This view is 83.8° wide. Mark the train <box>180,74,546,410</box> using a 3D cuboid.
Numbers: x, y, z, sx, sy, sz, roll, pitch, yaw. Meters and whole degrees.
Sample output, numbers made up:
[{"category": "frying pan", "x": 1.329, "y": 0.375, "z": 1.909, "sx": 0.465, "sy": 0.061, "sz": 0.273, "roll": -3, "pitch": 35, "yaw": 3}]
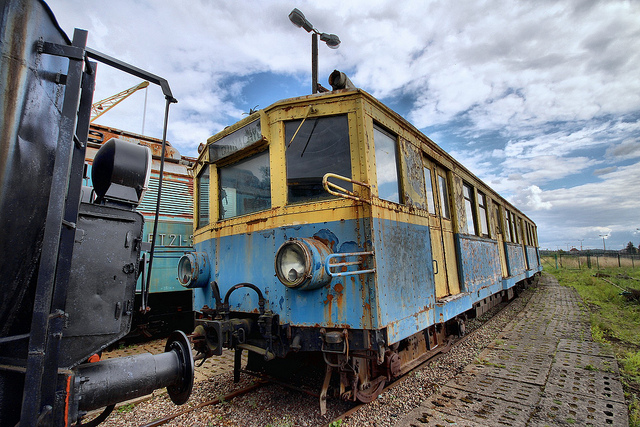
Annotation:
[{"category": "train", "x": 2.496, "y": 0.849, "z": 9.512, "sx": 3.151, "sy": 3.831, "sz": 12.207, "roll": -8, "pitch": -9, "yaw": 33}]

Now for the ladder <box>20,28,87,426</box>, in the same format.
[{"category": "ladder", "x": -2.167, "y": 0.035, "z": 2.907, "sx": 0.341, "sy": 3.221, "sz": 0.326, "roll": 2, "pitch": -5, "yaw": -34}]
